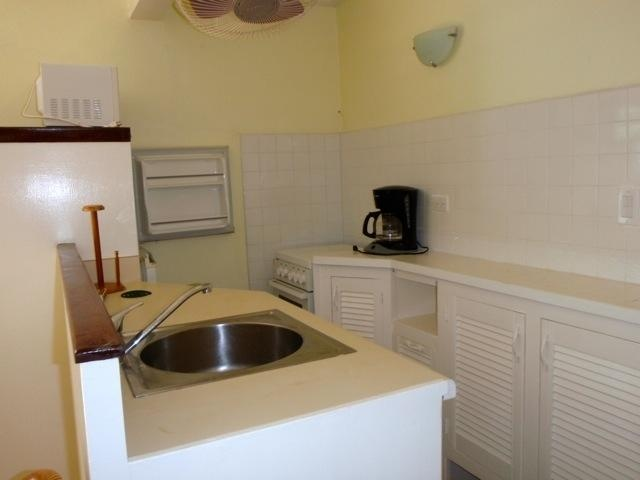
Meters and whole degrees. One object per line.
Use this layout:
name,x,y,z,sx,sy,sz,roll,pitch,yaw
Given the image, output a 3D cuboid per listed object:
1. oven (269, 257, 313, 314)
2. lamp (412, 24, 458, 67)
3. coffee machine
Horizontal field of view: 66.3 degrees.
oven,-0.199,0.282,3.410,0.304,0.480,0.328,-3,8,-33
lamp,0.690,-1.154,2.923,0.118,0.229,0.295,-8,14,-32
coffee machine,0.453,-0.130,3.203,0.412,0.408,0.398,2,2,-3
